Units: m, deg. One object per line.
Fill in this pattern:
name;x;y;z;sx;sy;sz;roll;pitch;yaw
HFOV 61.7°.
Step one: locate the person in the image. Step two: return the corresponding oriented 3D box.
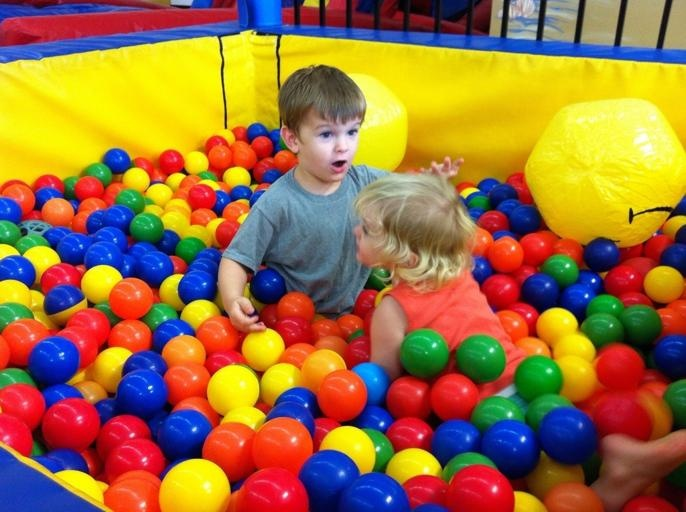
person;0.023;-0.198;2.068;0.873;1.130;0.395;-23;46;-25
